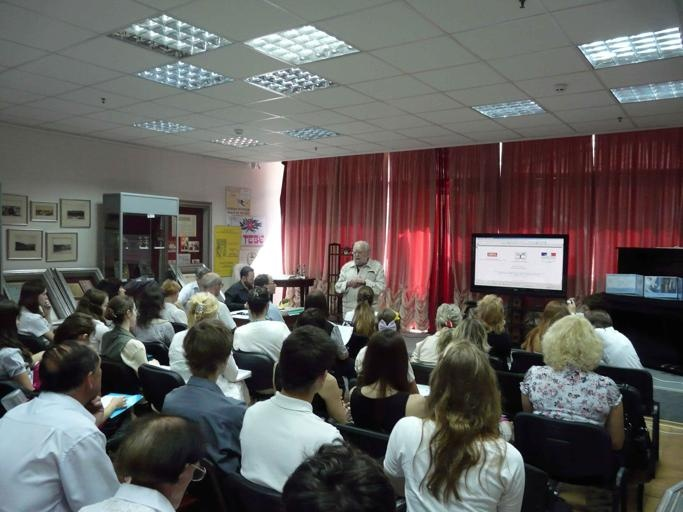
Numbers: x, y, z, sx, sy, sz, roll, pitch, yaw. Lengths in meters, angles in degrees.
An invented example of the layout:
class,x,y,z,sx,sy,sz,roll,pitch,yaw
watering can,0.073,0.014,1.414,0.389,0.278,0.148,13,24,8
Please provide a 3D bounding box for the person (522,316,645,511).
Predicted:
class,x,y,z,sx,sy,sz,roll,pitch,yaw
person,1.479,1.139,3.284,0.629,1.407,0.420,6,7,35

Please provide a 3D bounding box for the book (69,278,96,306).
class,x,y,z,sx,sy,sz,roll,pitch,yaw
book,-3.118,0.443,6.029,0.283,0.071,0.301,16,23,-39

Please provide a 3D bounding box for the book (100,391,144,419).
class,x,y,z,sx,sy,sz,roll,pitch,yaw
book,-1.394,0.948,3.273,0.260,0.063,0.257,0,3,29

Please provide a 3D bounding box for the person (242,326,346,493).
class,x,y,z,sx,sy,sz,roll,pitch,yaw
person,-0.216,0.772,2.586,0.532,0.789,0.490,2,-5,35

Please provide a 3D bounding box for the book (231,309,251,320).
class,x,y,z,sx,sy,sz,roll,pitch,yaw
book,-1.219,0.721,6.129,0.170,0.044,0.186,0,-2,36

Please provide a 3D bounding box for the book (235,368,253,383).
class,x,y,z,sx,sy,sz,roll,pitch,yaw
book,-0.748,0.875,3.704,0.125,0.043,0.129,1,0,35

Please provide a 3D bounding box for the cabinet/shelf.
class,x,y,z,sx,sy,sz,roll,pitch,yaw
cabinet/shelf,-2.956,-0.268,7.398,1.030,1.210,0.755,2,0,-29

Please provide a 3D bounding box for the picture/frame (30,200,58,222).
class,x,y,z,sx,sy,sz,roll,pitch,yaw
picture/frame,-3.976,-0.588,6.720,0.028,0.276,0.293,0,0,38

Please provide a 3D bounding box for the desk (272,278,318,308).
class,x,y,z,sx,sy,sz,roll,pitch,yaw
desk,-0.813,0.618,8.805,0.581,0.602,0.597,0,0,20

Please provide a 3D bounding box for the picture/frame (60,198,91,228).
class,x,y,z,sx,sy,sz,roll,pitch,yaw
picture/frame,-3.717,-0.582,7.006,0.042,0.386,0.413,5,5,38

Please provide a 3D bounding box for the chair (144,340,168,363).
class,x,y,z,sx,sy,sz,roll,pitch,yaw
chair,-1.572,0.839,4.388,0.146,0.209,0.197,3,2,28

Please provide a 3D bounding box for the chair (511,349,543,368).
class,x,y,z,sx,sy,sz,roll,pitch,yaw
chair,1.537,0.857,4.212,0.163,0.212,0.179,3,4,43

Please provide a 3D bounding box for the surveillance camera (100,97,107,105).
class,x,y,z,sx,sy,sz,roll,pitch,yaw
surveillance camera,-2.563,-1.655,5.436,0.042,0.041,0.041,-2,3,-44

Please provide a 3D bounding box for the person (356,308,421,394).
class,x,y,z,sx,sy,sz,roll,pitch,yaw
person,0.387,1.113,4.487,0.549,1.222,0.344,2,10,6

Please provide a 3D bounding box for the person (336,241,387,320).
class,x,y,z,sx,sy,sz,roll,pitch,yaw
person,0.220,0.625,7.297,0.658,1.648,0.580,5,15,11
